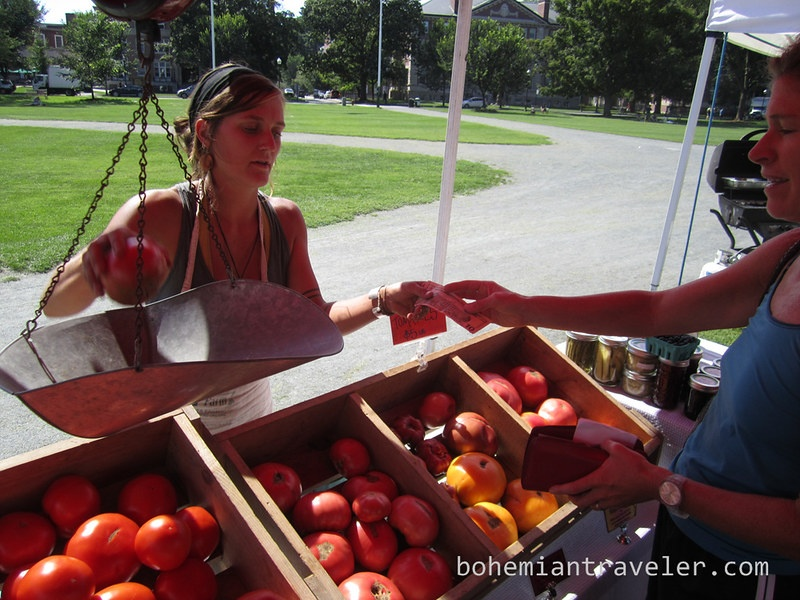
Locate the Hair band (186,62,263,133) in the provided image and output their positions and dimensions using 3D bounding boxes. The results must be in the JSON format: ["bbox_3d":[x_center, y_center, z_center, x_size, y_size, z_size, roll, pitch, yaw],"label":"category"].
[{"bbox_3d":[-0.653,-0.745,1.994,0.215,0.243,0.228,-11,23,-33],"label":"Hair band"}]

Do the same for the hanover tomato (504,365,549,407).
[{"bbox_3d":[0.592,0.391,2.550,0.169,0.168,0.170,30,29,12],"label":"hanover tomato"}]

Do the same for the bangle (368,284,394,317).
[{"bbox_3d":[-0.083,0.002,2.251,0.056,0.097,0.119,-11,-16,32],"label":"bangle"}]

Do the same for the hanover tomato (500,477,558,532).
[{"bbox_3d":[0.445,0.717,2.018,0.239,0.254,0.247,3,-24,5],"label":"hanover tomato"}]

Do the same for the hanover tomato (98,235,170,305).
[{"bbox_3d":[-0.745,-0.085,1.551,0.147,0.183,0.146,10,20,22],"label":"hanover tomato"}]

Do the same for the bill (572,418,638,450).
[{"bbox_3d":[0.611,0.398,1.609,0.181,0.070,0.187,17,4,22],"label":"bill"}]
